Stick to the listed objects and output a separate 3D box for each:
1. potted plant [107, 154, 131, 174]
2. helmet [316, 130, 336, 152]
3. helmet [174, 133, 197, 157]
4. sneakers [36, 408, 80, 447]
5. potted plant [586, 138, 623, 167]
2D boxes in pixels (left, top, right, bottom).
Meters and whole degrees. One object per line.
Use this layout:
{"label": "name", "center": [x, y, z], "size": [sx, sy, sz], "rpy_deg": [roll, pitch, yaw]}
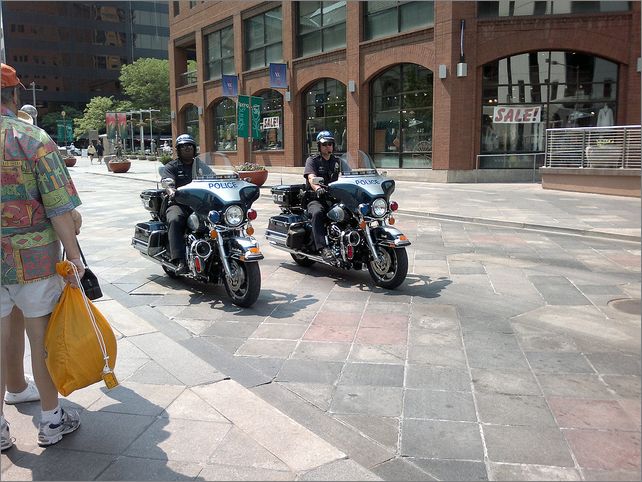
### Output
{"label": "potted plant", "center": [-14.949, -5.723, 33.591], "size": [1.562, 0.915, 1.452], "rpy_deg": [3, 15, 0]}
{"label": "helmet", "center": [0.057, -1.725, 7.648], "size": [0.286, 0.281, 0.361], "rpy_deg": [-2, 26, -9]}
{"label": "helmet", "center": [-2.138, -1.511, 7.032], "size": [0.420, 0.451, 0.511], "rpy_deg": [-3, 10, -20]}
{"label": "sneakers", "center": [-1.846, 1.339, 3.223], "size": [0.143, 0.147, 0.337], "rpy_deg": [2, 8, 0]}
{"label": "potted plant", "center": [10.604, -3.242, 16.819], "size": [0.934, 0.695, 1.115], "rpy_deg": [3, 6, 25]}
